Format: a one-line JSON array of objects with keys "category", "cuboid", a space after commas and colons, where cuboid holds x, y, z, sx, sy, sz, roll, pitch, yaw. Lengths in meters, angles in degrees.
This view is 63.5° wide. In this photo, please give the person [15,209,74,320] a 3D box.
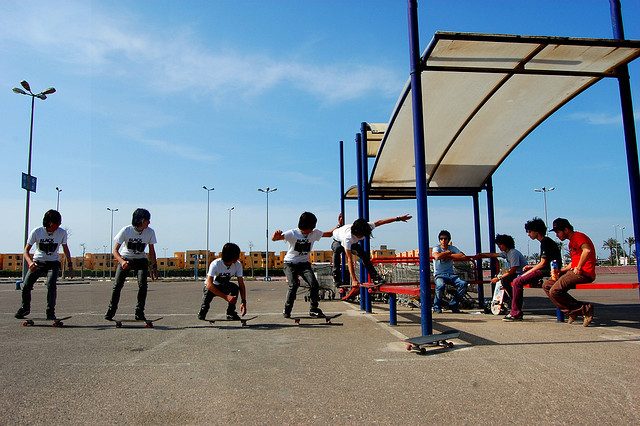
[{"category": "person", "cuboid": [-5.684, 1.103, 10.581, 0.995, 2.267, 0.817, 0, -1, 1]}]

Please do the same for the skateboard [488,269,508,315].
[{"category": "skateboard", "cuboid": [3.984, 1.919, 11.636, 0.323, 1.333, 0.179, 3, 0, -14]}]

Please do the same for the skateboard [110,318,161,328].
[{"category": "skateboard", "cuboid": [-3.679, 2.162, 10.171, 0.894, 0.148, 0.336, 0, -10, -7]}]

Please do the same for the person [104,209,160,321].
[{"category": "person", "cuboid": [-3.797, 1.079, 10.374, 0.952, 2.272, 1.240, 0, -1, -25]}]

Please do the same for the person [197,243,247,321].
[{"category": "person", "cuboid": [-1.952, 1.438, 10.400, 1.116, 1.630, 0.890, 0, -1, 12]}]

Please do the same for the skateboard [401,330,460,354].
[{"category": "skateboard", "cuboid": [1.776, 2.013, 8.245, 1.273, 0.236, 0.314, 1, -1, -38]}]

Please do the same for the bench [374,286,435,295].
[{"category": "bench", "cuboid": [1.444, 1.478, 9.811, 0.373, 0.133, 1.066, 1, -1, -26]}]

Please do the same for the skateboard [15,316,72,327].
[{"category": "skateboard", "cuboid": [-5.733, 2.258, 10.629, 0.680, 0.130, 0.235, 2, -11, -12]}]

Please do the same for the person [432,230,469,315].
[{"category": "person", "cuboid": [3.075, 1.464, 12.328, 0.777, 2.001, 1.167, 0, -1, 12]}]

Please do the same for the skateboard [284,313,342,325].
[{"category": "skateboard", "cuboid": [-0.178, 2.292, 11.034, 1.278, 0.231, 0.323, -1, -5, -2]}]

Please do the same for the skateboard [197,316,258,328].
[{"category": "skateboard", "cuboid": [-1.933, 2.267, 10.632, 1.240, 0.197, 0.318, 1, -4, -10]}]
